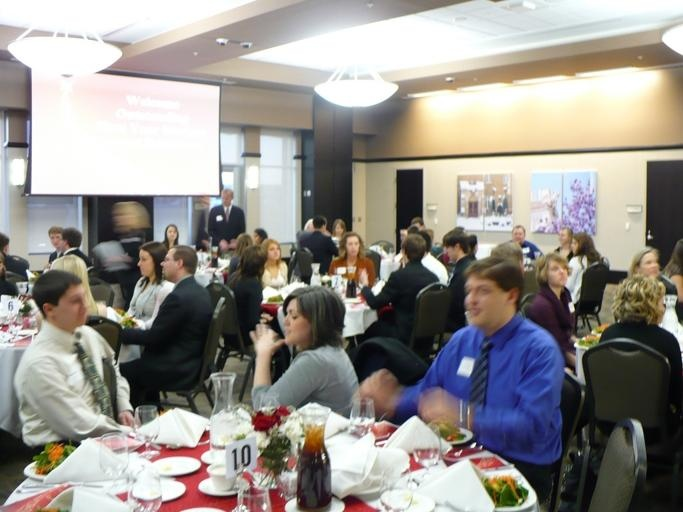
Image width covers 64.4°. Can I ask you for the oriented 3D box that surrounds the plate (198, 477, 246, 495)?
[{"bbox_3d":[-0.405,0.794,1.870,0.140,0.020,0.138,5,-4,-40],"label":"plate"}]

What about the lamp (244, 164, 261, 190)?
[{"bbox_3d":[-1.981,-1.740,12.035,0.278,0.539,0.111,-2,4,-33],"label":"lamp"}]

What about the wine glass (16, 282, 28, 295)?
[{"bbox_3d":[-2.948,0.304,5.007,0.087,0.109,0.092,-1,-5,-7],"label":"wine glass"}]

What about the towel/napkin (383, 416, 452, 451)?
[{"bbox_3d":[0.275,0.669,1.986,0.164,0.073,0.188,-3,-5,-22],"label":"towel/napkin"}]

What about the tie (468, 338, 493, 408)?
[{"bbox_3d":[0.632,0.522,2.454,0.095,0.282,0.094,0,3,-4],"label":"tie"}]

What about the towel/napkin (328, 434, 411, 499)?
[{"bbox_3d":[0.083,0.725,1.859,0.204,0.084,0.219,3,24,40],"label":"towel/napkin"}]

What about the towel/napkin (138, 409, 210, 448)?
[{"bbox_3d":[-0.670,0.707,2.212,0.142,0.063,0.161,10,10,39],"label":"towel/napkin"}]

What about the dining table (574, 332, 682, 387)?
[{"bbox_3d":[1.931,0.689,3.851,0.515,0.561,0.548,-2,-4,17],"label":"dining table"}]

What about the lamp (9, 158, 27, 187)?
[{"bbox_3d":[-5.573,-1.438,9.339,0.255,0.499,0.149,-1,4,-26],"label":"lamp"}]
